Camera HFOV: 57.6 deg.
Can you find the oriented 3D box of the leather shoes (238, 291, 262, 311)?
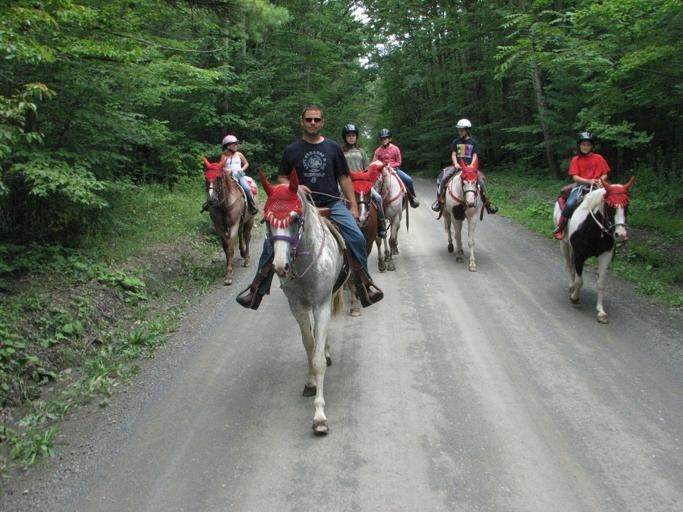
[{"bbox_3d":[-1.513,0.730,10.197,0.378,0.287,0.234,3,13,16],"label":"leather shoes"}]

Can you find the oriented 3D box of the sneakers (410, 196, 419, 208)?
[{"bbox_3d":[2.116,-1.571,18.259,0.171,0.447,0.181,4,-26,-10],"label":"sneakers"}]

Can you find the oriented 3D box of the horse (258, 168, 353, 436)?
[{"bbox_3d":[-0.523,0.546,9.605,1.113,3.791,1.883,-1,12,3],"label":"horse"}]

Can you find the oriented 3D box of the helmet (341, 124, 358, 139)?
[{"bbox_3d":[0.198,-2.912,14.471,0.245,0.295,0.345,-7,-6,-13],"label":"helmet"}]

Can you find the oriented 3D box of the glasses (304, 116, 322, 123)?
[{"bbox_3d":[-0.469,-2.185,10.052,0.274,0.089,0.079,-7,14,-24],"label":"glasses"}]

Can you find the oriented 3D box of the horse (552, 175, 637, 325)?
[{"bbox_3d":[5.222,-0.320,13.077,1.303,2.728,2.586,3,13,19],"label":"horse"}]
